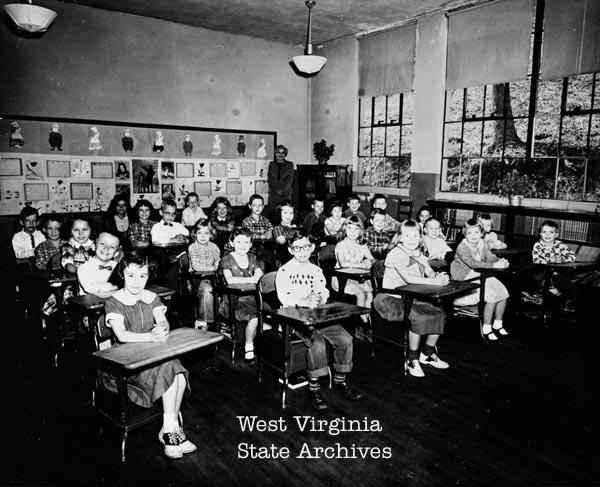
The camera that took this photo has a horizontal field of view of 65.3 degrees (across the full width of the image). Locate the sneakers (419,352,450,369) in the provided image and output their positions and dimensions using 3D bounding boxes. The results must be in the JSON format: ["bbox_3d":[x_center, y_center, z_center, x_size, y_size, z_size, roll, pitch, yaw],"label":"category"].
[{"bbox_3d":[1.175,1.014,4.104,0.277,0.133,0.114,8,14,23],"label":"sneakers"}]

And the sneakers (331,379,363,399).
[{"bbox_3d":[0.372,1.090,3.615,0.184,0.080,0.105,17,17,34],"label":"sneakers"}]

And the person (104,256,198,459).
[{"bbox_3d":[-1.009,0.682,3.006,0.517,1.202,0.684,-6,14,-26],"label":"person"}]

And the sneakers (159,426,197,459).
[{"bbox_3d":[-0.769,1.246,2.927,0.205,0.096,0.143,16,4,37],"label":"sneakers"}]

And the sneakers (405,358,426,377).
[{"bbox_3d":[0.973,1.032,3.941,0.081,0.086,0.200,-4,5,-19],"label":"sneakers"}]

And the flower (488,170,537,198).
[{"bbox_3d":[3.065,-0.759,6.667,0.434,0.401,0.441,-19,38,-29],"label":"flower"}]

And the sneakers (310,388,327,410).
[{"bbox_3d":[0.139,1.147,3.468,0.064,0.076,0.177,-4,6,-18],"label":"sneakers"}]

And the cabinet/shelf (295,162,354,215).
[{"bbox_3d":[0.519,-1.094,9.040,0.910,1.689,0.936,-6,11,-29],"label":"cabinet/shelf"}]

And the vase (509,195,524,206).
[{"bbox_3d":[2.968,-0.592,6.397,0.128,0.109,0.125,1,2,-24],"label":"vase"}]
